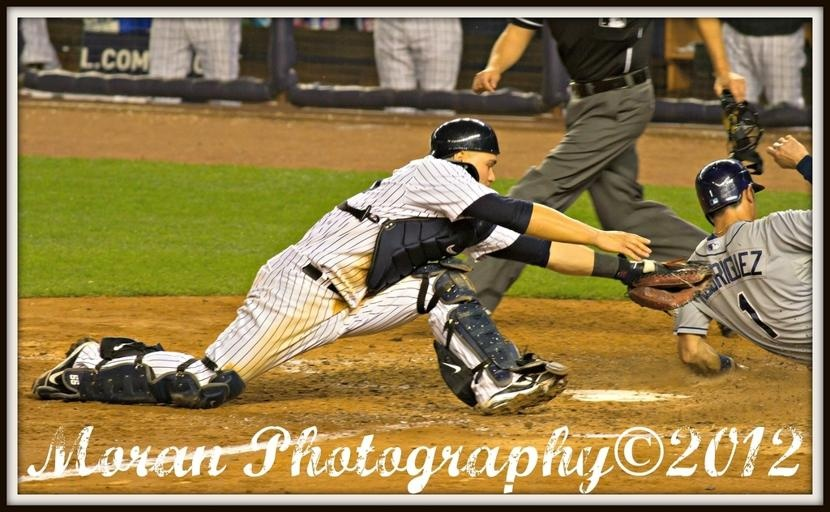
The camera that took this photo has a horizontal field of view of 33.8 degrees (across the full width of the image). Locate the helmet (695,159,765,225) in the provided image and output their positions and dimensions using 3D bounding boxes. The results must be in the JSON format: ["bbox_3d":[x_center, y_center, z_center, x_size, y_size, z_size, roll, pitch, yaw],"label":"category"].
[{"bbox_3d":[2.298,-0.515,10.176,0.630,0.346,0.416,-1,-13,-37],"label":"helmet"}]

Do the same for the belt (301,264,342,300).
[{"bbox_3d":[-0.687,0.176,9.909,0.286,0.091,0.200,30,-8,25],"label":"belt"}]

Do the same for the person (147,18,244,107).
[{"bbox_3d":[-2.612,-2.274,16.037,1.599,1.013,0.459,-1,-1,-14],"label":"person"}]

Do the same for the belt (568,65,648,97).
[{"bbox_3d":[1.580,-1.426,11.130,0.634,0.254,0.232,2,8,5],"label":"belt"}]

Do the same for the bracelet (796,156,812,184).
[{"bbox_3d":[2.883,-0.650,10.098,0.089,0.202,0.138,-18,40,20],"label":"bracelet"}]

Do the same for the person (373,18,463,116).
[{"bbox_3d":[0.008,-2.654,17.864,1.364,0.948,0.540,-5,11,-38],"label":"person"}]

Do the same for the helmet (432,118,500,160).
[{"bbox_3d":[0.399,-0.877,10.108,0.498,0.196,0.298,-2,10,4],"label":"helmet"}]
